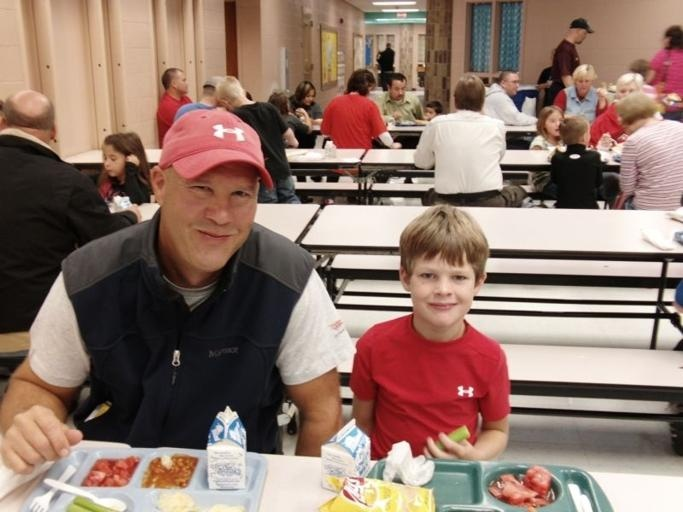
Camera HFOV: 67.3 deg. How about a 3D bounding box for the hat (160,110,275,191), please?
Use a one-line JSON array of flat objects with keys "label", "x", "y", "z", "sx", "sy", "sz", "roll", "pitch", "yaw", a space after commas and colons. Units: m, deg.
[{"label": "hat", "x": -0.339, "y": -0.292, "z": 1.373, "sx": 0.197, "sy": 0.139, "sz": 0.260, "roll": -1, "pitch": 14, "yaw": -39}]
